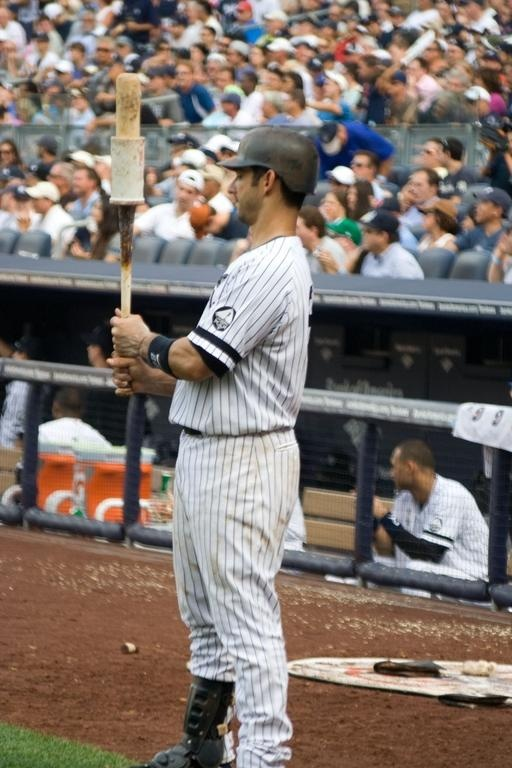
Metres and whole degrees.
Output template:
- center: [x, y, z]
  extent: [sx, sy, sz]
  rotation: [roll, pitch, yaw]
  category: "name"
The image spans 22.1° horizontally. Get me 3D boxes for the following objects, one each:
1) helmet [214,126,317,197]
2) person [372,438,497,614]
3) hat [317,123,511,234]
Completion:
- center: [0.029, -0.551, 3.257]
  extent: [0.224, 0.120, 0.145]
  rotation: [16, 13, 2]
  category: "helmet"
- center: [0.655, 0.636, 5.044]
  extent: [0.582, 0.798, 0.361]
  rotation: [0, 1, 15]
  category: "person"
- center: [0.882, -1.115, 7.026]
  extent: [0.695, 0.584, 1.029]
  rotation: [-2, 8, -31]
  category: "hat"
